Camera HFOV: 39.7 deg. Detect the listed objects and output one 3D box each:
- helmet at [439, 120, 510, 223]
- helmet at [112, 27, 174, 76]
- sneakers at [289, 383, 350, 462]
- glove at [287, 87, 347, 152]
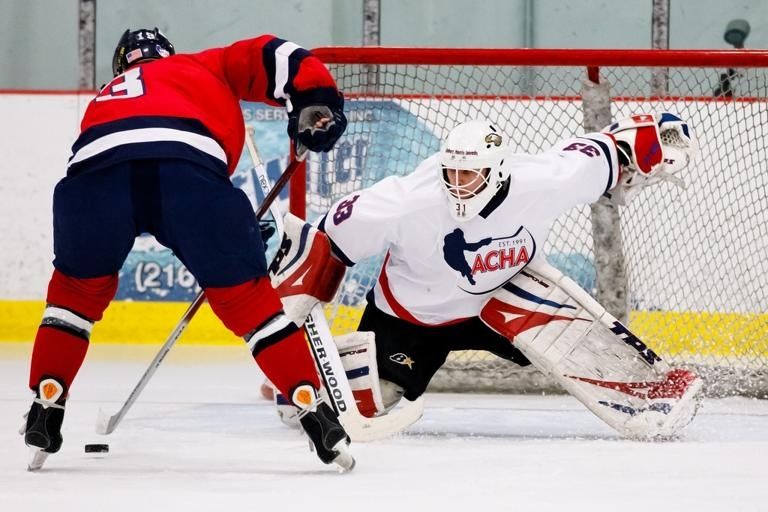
[{"bbox_3d":[0.453,-0.445,5.299,0.324,0.426,0.414,1,15,31],"label":"helmet"},{"bbox_3d":[-1.143,-0.999,5.096,0.219,0.273,0.271,-5,39,-3],"label":"helmet"},{"bbox_3d":[-0.291,0.762,4.909,0.182,0.447,0.178,-32,9,-3],"label":"sneakers"},{"bbox_3d":[-0.322,-0.674,5.076,0.303,0.291,0.128,5,10,15],"label":"glove"}]
